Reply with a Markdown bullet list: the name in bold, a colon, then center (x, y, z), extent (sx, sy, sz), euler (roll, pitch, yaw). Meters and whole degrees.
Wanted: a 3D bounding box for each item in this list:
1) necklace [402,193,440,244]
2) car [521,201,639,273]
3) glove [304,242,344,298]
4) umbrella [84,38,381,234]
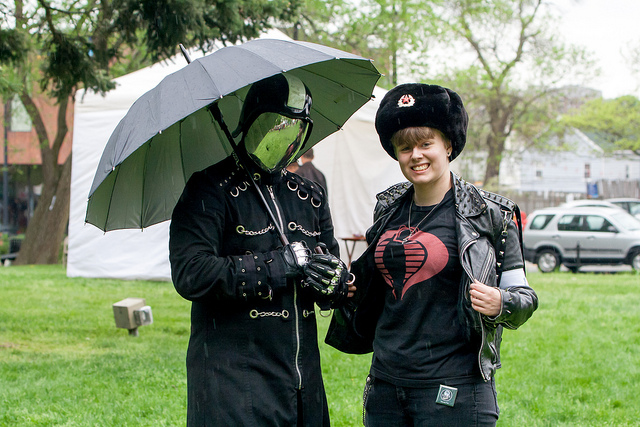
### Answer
- **necklace**: center (1.041, 0.071, 9.772), extent (0.170, 0.555, 0.013), euler (25, -21, 27)
- **car**: center (4.843, 0.449, 18.249), extent (1.421, 1.269, 3.005), euler (2, -4, -39)
- **glove**: center (0.058, 0.574, 9.640), extent (0.428, 0.199, 0.363), euler (27, 18, 11)
- **umbrella**: center (-1.199, -0.897, 9.836), extent (2.399, 1.004, 2.346), euler (-26, -28, -32)
